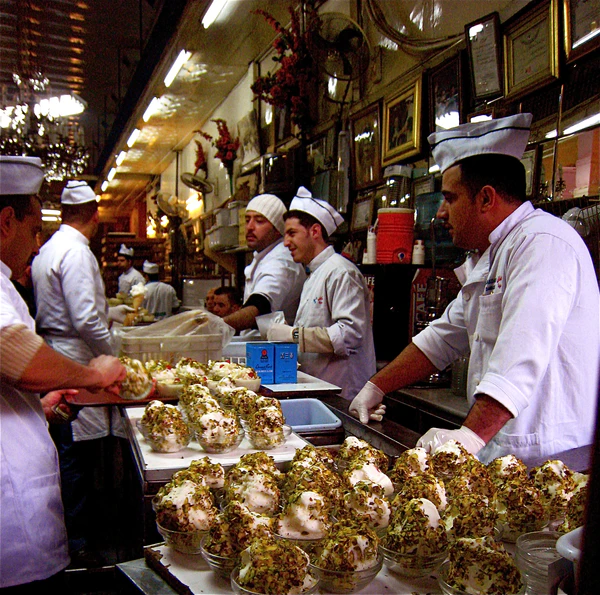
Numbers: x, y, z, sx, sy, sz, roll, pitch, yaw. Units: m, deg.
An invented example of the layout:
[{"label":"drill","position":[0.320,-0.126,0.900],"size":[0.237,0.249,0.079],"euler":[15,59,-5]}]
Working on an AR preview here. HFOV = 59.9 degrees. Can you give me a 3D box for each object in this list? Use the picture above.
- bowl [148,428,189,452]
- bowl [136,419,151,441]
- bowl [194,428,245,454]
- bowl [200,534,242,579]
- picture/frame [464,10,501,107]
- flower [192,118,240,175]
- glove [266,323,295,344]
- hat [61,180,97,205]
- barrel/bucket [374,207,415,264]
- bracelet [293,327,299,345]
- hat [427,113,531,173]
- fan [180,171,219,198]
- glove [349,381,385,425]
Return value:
[{"label":"bowl","position":[-0.389,0.409,1.524],"size":[0.070,0.037,0.079],"euler":[-1,-11,12]},{"label":"bowl","position":[-0.483,0.406,1.612],"size":[0.027,0.066,0.073],"euler":[-15,27,-12]},{"label":"bowl","position":[-0.237,0.411,1.557],"size":[0.145,0.100,0.091],"euler":[2,3,-18]},{"label":"bowl","position":[-0.142,0.444,0.896],"size":[0.054,0.036,0.056],"euler":[7,-14,2]},{"label":"picture/frame","position":[1.149,-1.500,3.248],"size":[0.155,0.475,0.276],"euler":[2,3,-15]},{"label":"flower","position":[-1.213,-2.500,8.548],"size":[0.391,0.879,0.707],"euler":[2,3,-11]},{"label":"glove","position":[-0.123,0.205,3.074],"size":[0.100,0.099,0.248],"euler":[1,4,-28]},{"label":"hat","position":[-1.628,-0.798,3.843],"size":[0.163,0.119,0.210],"euler":[-10,24,-2]},{"label":"barrel/bucket","position":[0.690,-0.472,3.881],"size":[0.290,0.437,0.394],"euler":[2,-5,-5]},{"label":"bracelet","position":[-0.023,0.222,2.978],"size":[0.052,0.071,0.070],"euler":[-2,6,0]},{"label":"hat","position":[0.654,-0.587,1.894],"size":[0.285,0.110,0.223],"euler":[-20,0,18]},{"label":"fan","position":[-1.918,-2.213,9.783],"size":[0.599,0.386,0.697],"euler":[2,3,-12]},{"label":"glove","position":[0.263,0.421,2.027],"size":[0.124,0.121,0.218],"euler":[23,19,10]}]
